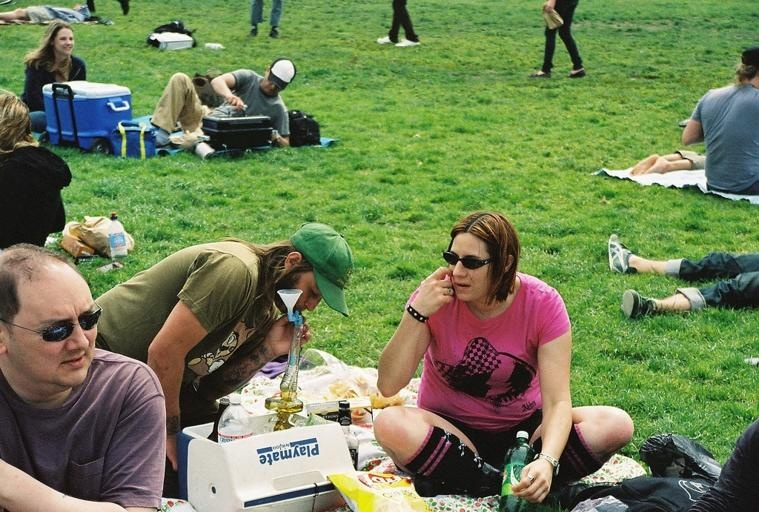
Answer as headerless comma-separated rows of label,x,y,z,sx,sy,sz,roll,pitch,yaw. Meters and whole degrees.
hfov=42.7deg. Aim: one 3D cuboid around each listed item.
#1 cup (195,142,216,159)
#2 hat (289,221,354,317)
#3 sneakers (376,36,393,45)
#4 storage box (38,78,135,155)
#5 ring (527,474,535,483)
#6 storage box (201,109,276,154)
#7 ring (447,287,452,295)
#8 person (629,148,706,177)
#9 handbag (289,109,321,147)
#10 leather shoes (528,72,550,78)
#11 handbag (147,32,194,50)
cup,-2.968,-1.808,16.557,0.263,0.240,0.349,-12,18,-35
hat,-0.454,0.079,9.124,0.478,0.854,0.545,-43,-7,12
sneakers,0.132,-6.210,28.013,0.451,0.201,0.260,-3,24,3
storage box,-4.991,-2.371,16.245,1.368,1.051,0.962,11,18,20
ring,1.336,1.970,8.621,0.030,0.042,0.053,-2,-12,-43
storage box,-2.522,-2.144,17.009,0.723,0.589,1.243,17,20,40
ring,0.658,0.331,9.108,0.048,0.049,0.014,6,-3,-17
person,4.980,-1.605,16.629,1.023,0.278,0.585,-7,27,-37
handbag,-1.402,-2.389,17.985,0.649,0.655,0.556,-5,21,-14
leather shoes,3.948,-4.494,24.089,0.527,0.214,0.189,5,10,8
handbag,-5.335,-5.544,25.038,1.090,0.439,0.633,-6,15,-18
